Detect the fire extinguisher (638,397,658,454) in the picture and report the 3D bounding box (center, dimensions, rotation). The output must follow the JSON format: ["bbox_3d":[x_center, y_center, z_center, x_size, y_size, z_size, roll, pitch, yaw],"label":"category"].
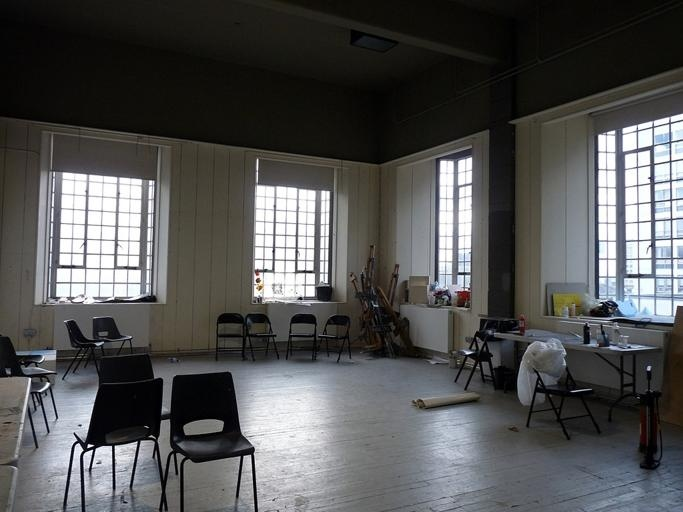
[{"bbox_3d":[3.173,1.742,5.227,0.139,0.628,0.164,3,3,43],"label":"fire extinguisher"}]

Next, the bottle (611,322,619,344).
[{"bbox_3d":[3.647,1.030,6.739,0.107,0.229,0.434,2,2,28],"label":"bottle"}]

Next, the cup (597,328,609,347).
[{"bbox_3d":[3.434,1.057,6.627,0.136,0.213,0.366,2,2,28],"label":"cup"}]
